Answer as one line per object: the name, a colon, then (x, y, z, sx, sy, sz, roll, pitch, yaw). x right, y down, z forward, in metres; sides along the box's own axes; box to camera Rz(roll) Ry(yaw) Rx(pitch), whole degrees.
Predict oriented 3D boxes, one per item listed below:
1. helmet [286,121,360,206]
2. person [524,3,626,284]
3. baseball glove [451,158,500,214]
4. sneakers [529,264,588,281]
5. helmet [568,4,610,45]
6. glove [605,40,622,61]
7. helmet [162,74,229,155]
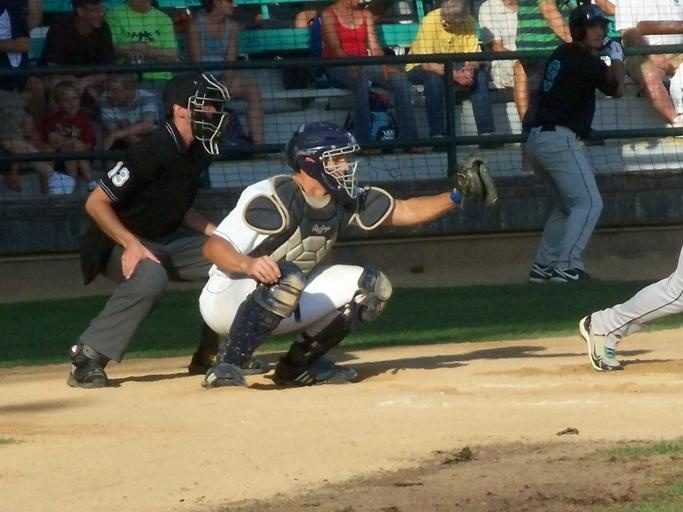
helmet: (-0.084, -0.538, 7.786, 0.483, 0.446, 0.399, 4, 12, 8)
person: (1.770, -0.821, 10.167, 0.723, 2.117, 0.571, 0, 14, 9)
baseball glove: (0.829, -0.427, 7.833, 0.307, 0.268, 0.224, -17, 19, -37)
sneakers: (1.663, 0.146, 10.266, 0.443, 0.180, 0.155, 1, 8, 12)
helmet: (1.868, -1.749, 10.141, 0.297, 0.320, 0.329, -15, 15, -42)
glove: (2.090, -1.573, 10.252, 0.131, 0.137, 0.159, -1, -6, -11)
helmet: (-0.887, -0.905, 8.467, 0.497, 0.558, 0.439, 1, 7, 14)
